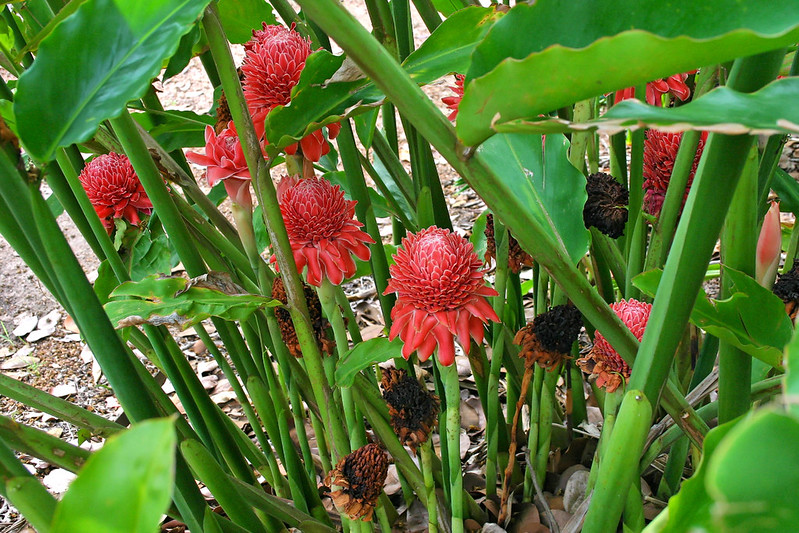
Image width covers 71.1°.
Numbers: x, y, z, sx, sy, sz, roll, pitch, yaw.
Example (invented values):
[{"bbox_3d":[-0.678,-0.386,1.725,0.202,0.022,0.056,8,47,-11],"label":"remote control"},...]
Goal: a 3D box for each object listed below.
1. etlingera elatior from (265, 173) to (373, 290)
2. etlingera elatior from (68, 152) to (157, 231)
[{"bbox_3d":[-0.086,-0.057,0.847,0.148,0.168,0.148,5,48,14],"label":"etlingera elatior"},{"bbox_3d":[-0.495,-0.128,0.980,0.081,0.121,0.093,-28,32,-23],"label":"etlingera elatior"}]
